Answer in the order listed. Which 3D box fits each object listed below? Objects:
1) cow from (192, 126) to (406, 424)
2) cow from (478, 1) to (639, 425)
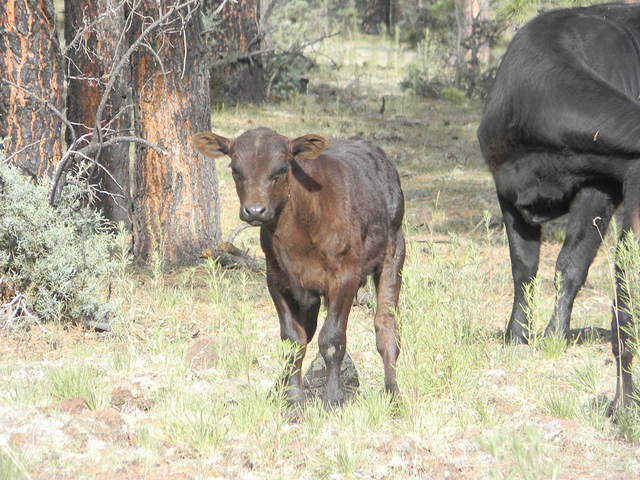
[{"bbox_3d":[0.089,0.331,9.189,1.013,2.730,3.153,0,3,27],"label":"cow"},{"bbox_3d":[2.419,-0.591,9.611,1.404,3.481,1.394,3,8,1],"label":"cow"}]
